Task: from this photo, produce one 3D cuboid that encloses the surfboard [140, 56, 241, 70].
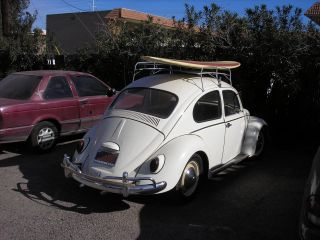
[{"bbox_3d":[0.866,-1.259,5.115,0.909,0.266,2.750,9,13,43],"label":"surfboard"}]
